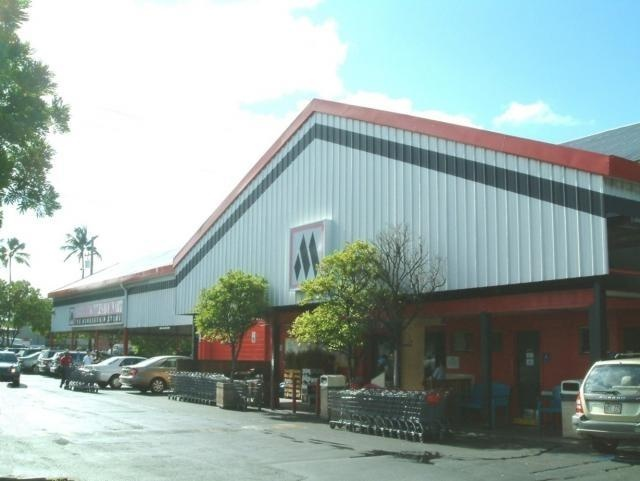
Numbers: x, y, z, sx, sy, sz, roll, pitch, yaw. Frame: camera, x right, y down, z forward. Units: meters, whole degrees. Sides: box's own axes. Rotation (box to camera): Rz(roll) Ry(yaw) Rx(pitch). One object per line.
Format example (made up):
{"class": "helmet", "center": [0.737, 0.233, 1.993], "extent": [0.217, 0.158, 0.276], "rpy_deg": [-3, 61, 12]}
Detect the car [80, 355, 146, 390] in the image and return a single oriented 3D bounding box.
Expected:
{"class": "car", "center": [-9.885, 6.287, 35.479], "extent": [2.920, 1.092, 1.351], "rpy_deg": [2, -6, -30]}

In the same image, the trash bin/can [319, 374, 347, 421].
{"class": "trash bin/can", "center": [0.413, 5.107, 24.405], "extent": [1.084, 1.436, 1.140], "rpy_deg": [-3, -4, 39]}

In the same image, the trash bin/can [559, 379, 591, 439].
{"class": "trash bin/can", "center": [6.855, 4.425, 19.666], "extent": [0.983, 1.501, 0.971], "rpy_deg": [11, -15, -44]}

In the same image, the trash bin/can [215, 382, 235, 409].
{"class": "trash bin/can", "center": [-3.455, 5.483, 26.425], "extent": [0.819, 0.935, 0.376], "rpy_deg": [-12, -19, 41]}

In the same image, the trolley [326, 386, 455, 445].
{"class": "trolley", "center": [1.960, 4.841, 20.610], "extent": [1.732, 1.467, 4.035], "rpy_deg": [14, -21, -37]}

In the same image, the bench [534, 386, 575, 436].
{"class": "bench", "center": [6.760, 4.821, 21.351], "extent": [0.831, 1.338, 0.811], "rpy_deg": [3, -9, -37]}

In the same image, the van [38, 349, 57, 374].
{"class": "van", "center": [-17.189, 7.621, 46.920], "extent": [1.229, 1.249, 2.308], "rpy_deg": [1, -3, -22]}

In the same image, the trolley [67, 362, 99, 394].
{"class": "trolley", "center": [-10.406, 6.187, 33.221], "extent": [0.868, 1.235, 1.995], "rpy_deg": [10, -9, -33]}

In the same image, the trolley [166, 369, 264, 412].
{"class": "trolley", "center": [-3.966, 5.631, 28.051], "extent": [1.254, 1.657, 5.038], "rpy_deg": [13, -20, -35]}
